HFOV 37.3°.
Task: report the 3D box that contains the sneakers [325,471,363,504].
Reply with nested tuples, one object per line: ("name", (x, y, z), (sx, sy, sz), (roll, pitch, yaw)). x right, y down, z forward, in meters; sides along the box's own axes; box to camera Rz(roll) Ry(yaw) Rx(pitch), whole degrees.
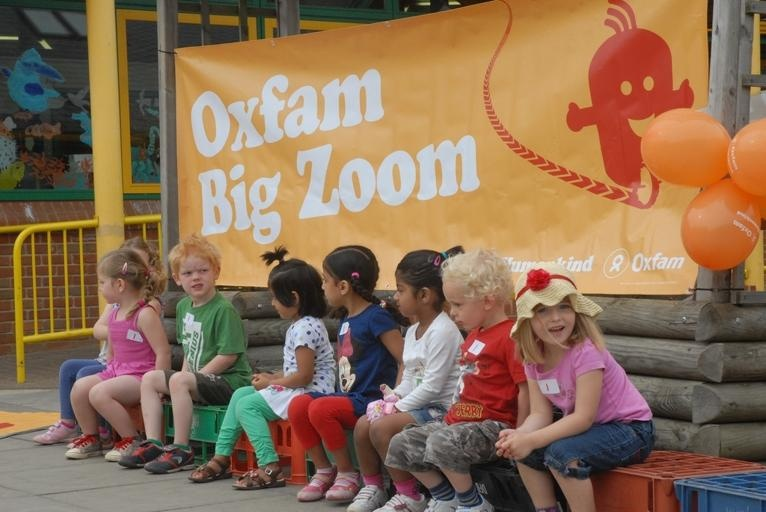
("sneakers", (-0.271, 1.545, 7.620), (0.112, 0.136, 0.324), (-2, -3, 17))

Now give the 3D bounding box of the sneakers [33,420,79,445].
("sneakers", (-2.561, 1.394, 9.054), (0.406, 0.197, 0.153), (2, 5, -14))

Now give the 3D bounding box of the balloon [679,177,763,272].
("balloon", (2.150, -0.216, 7.265), (0.319, 0.481, 0.305), (37, -31, -26))

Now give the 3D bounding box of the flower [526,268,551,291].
("flower", (0.928, 0.143, 6.847), (0.121, 0.130, 0.078), (-15, -37, 18))

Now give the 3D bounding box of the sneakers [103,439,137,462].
("sneakers", (-1.961, 1.445, 8.506), (0.287, 0.138, 0.113), (0, 7, 2))

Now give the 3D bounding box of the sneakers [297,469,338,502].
("sneakers", (-0.437, 1.555, 7.779), (0.142, 0.166, 0.420), (-6, 2, 31))

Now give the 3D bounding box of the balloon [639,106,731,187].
("balloon", (1.887, -0.731, 7.392), (0.523, 0.462, 0.419), (2, 14, -10))

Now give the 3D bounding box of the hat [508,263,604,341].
("hat", (1.078, 0.158, 6.975), (0.312, 0.246, 0.375), (21, -7, -34))

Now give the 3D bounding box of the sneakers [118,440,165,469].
("sneakers", (-1.748, 1.424, 8.353), (0.400, 0.192, 0.156), (-6, 23, -18))

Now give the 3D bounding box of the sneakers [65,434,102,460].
("sneakers", (-2.276, 1.444, 8.633), (0.129, 0.125, 0.270), (0, -4, 36))

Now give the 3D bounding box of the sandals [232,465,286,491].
("sandals", (-0.851, 1.520, 7.865), (0.316, 0.149, 0.163), (4, -7, -7))

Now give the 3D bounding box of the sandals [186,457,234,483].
("sandals", (-1.222, 1.497, 8.024), (0.314, 0.150, 0.134), (0, 1, -29))

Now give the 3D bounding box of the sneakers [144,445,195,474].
("sneakers", (-1.541, 1.476, 8.332), (0.394, 0.197, 0.147), (-1, 3, -34))
